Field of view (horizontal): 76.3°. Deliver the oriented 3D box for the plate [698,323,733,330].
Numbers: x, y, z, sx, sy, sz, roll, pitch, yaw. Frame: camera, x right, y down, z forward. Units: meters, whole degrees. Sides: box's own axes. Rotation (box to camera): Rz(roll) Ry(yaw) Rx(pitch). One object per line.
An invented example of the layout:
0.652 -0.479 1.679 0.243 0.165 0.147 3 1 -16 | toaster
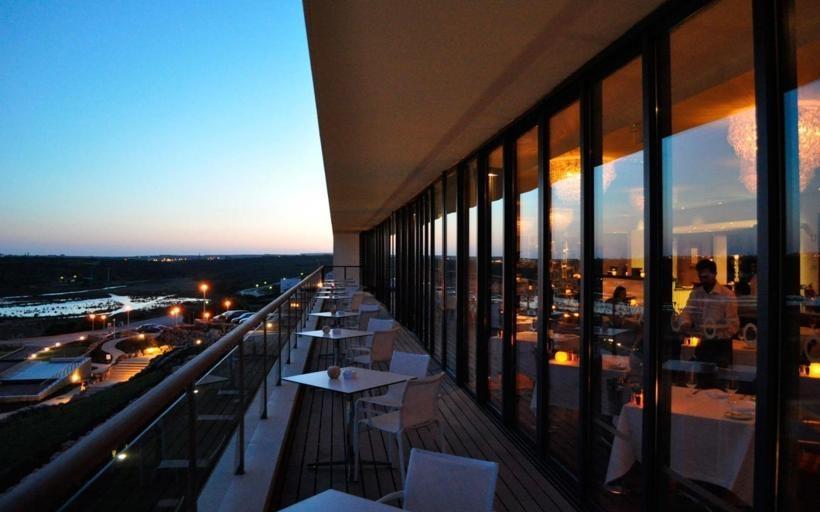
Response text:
1.915 0.440 3.256 0.021 0.041 0.204 0 -2 -24 | plate
